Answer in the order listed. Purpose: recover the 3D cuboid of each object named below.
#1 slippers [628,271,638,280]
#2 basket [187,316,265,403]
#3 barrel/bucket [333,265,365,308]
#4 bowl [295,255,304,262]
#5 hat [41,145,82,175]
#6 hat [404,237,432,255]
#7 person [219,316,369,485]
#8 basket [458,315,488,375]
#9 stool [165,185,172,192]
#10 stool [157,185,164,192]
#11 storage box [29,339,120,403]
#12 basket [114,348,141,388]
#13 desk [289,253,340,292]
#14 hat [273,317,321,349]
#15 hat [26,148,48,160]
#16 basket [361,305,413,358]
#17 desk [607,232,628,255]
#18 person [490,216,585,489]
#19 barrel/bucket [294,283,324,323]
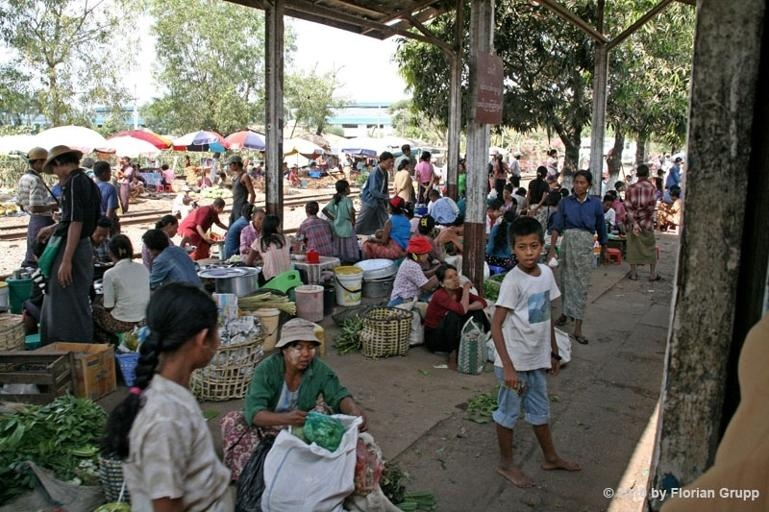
[{"bbox_3d":[4.857,0.410,11.386,0.116,0.149,0.376,-1,-4,15],"label":"slippers"},{"bbox_3d":[-1.722,1.257,6.302,0.771,0.530,0.675,0,-4,13],"label":"basket"},{"bbox_3d":[-0.579,0.511,9.125,0.513,0.536,0.493,0,5,0],"label":"barrel/bucket"},{"bbox_3d":[-1.393,0.046,9.433,0.126,0.089,0.128,1,0,0],"label":"bowl"},{"bbox_3d":[-3.618,-1.059,6.425,0.376,0.144,0.322,-28,0,-5],"label":"hat"},{"bbox_3d":[0.488,-0.134,8.238,0.429,0.251,0.150,-8,18,-35],"label":"hat"},{"bbox_3d":[-0.709,1.206,4.829,1.128,1.278,1.104,6,6,-3],"label":"person"},{"bbox_3d":[1.045,1.101,7.092,0.370,0.621,0.576,1,-10,8],"label":"basket"},{"bbox_3d":[-10.261,-3.168,27.499,0.284,0.274,0.290,2,5,32],"label":"stool"},{"bbox_3d":[-10.462,-3.119,27.026,0.256,0.279,0.243,6,4,-4],"label":"stool"},{"bbox_3d":[-3.140,1.172,5.917,0.622,0.393,0.629,1,2,8],"label":"storage box"},{"bbox_3d":[-2.777,1.180,6.309,0.296,0.307,0.248,-4,0,-27],"label":"basket"},{"bbox_3d":[-1.024,0.229,9.039,0.667,0.300,0.490,8,12,36],"label":"desk"},{"bbox_3d":[-0.732,0.609,4.624,0.398,0.197,0.320,0,0,12],"label":"hat"},{"bbox_3d":[-4.551,-1.324,7.697,0.225,0.174,0.302,7,15,17],"label":"hat"},{"bbox_3d":[-0.003,1.011,7.459,0.710,0.525,0.584,-2,6,-39],"label":"basket"},{"bbox_3d":[5.053,-0.248,12.678,0.428,0.409,0.433,8,14,39],"label":"desk"},{"bbox_3d":[1.196,0.949,4.821,0.722,1.823,0.542,-4,16,-22],"label":"person"},{"bbox_3d":[-1.091,0.686,8.354,0.436,0.481,0.437,0,12,0],"label":"barrel/bucket"}]
